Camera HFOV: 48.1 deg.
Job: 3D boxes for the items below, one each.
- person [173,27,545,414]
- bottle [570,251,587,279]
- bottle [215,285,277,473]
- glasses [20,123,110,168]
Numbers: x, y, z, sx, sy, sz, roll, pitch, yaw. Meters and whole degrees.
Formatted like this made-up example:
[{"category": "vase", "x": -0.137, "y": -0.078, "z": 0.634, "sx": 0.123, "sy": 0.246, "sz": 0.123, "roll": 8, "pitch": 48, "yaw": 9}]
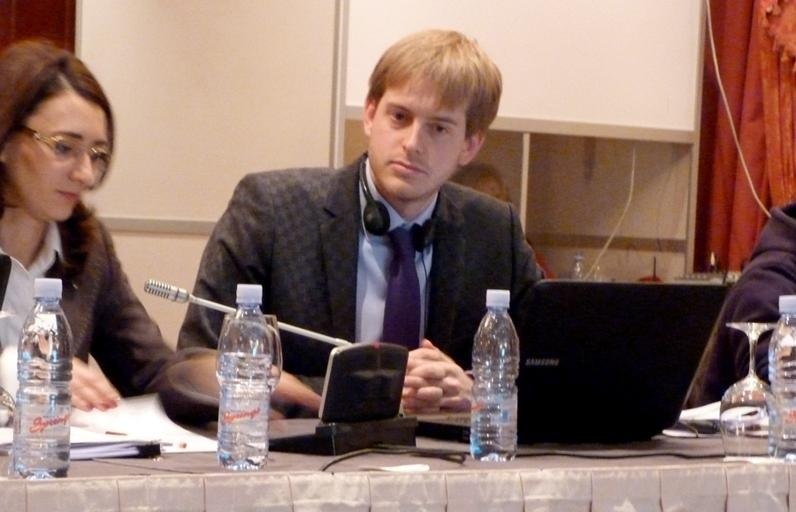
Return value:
[{"category": "person", "x": -0.202, "y": -0.142, "z": 2.976, "sx": 1.045, "sy": 1.300, "sz": 0.661, "roll": 19, "pitch": -17, "yaw": -15}, {"category": "bottle", "x": 0.846, "y": 0.041, "z": 4.183, "sx": 0.058, "sy": 0.124, "sz": 0.143, "roll": 1, "pitch": -2, "yaw": 13}, {"category": "bottle", "x": -0.341, "y": 0.270, "z": 2.028, "sx": 0.136, "sy": 0.407, "sz": 0.225, "roll": 2, "pitch": -2, "yaw": -11}, {"category": "glasses", "x": -1.018, "y": -0.368, "z": 2.769, "sx": 0.152, "sy": 0.052, "sz": 0.134, "roll": 31, "pitch": 12, "yaw": 31}]
